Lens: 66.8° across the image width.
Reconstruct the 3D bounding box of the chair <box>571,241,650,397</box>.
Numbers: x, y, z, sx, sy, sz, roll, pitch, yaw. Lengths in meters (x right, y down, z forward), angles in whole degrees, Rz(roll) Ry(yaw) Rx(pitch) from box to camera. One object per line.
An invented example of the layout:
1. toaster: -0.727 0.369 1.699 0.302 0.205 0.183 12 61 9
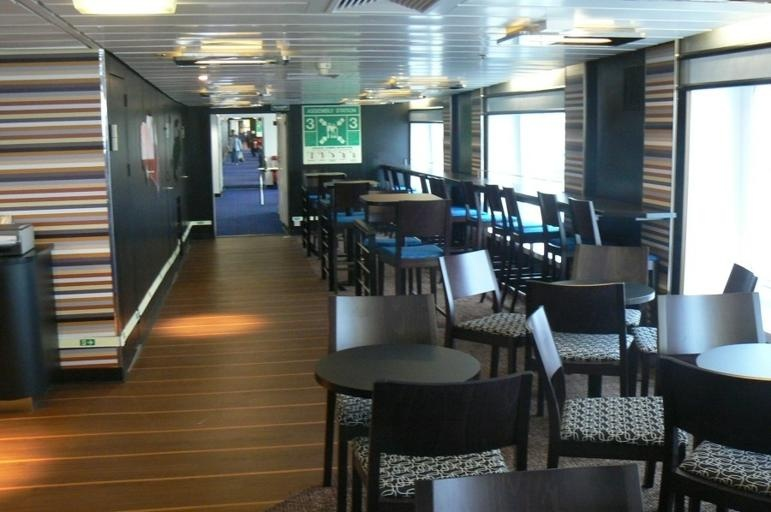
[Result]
1. chair: 1.685 0.272 4.368 0.705 0.667 0.692 4 13 22
